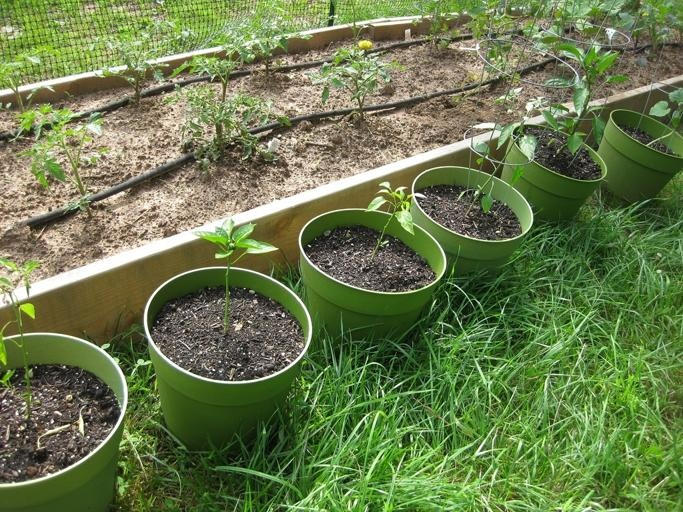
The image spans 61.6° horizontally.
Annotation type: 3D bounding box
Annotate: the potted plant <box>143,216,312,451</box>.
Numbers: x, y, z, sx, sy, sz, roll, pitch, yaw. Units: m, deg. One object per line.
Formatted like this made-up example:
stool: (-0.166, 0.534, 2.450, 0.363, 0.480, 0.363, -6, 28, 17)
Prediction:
potted plant: (-0.484, 0.349, 2.359, 0.600, 0.764, 0.624, 15, 32, -3)
